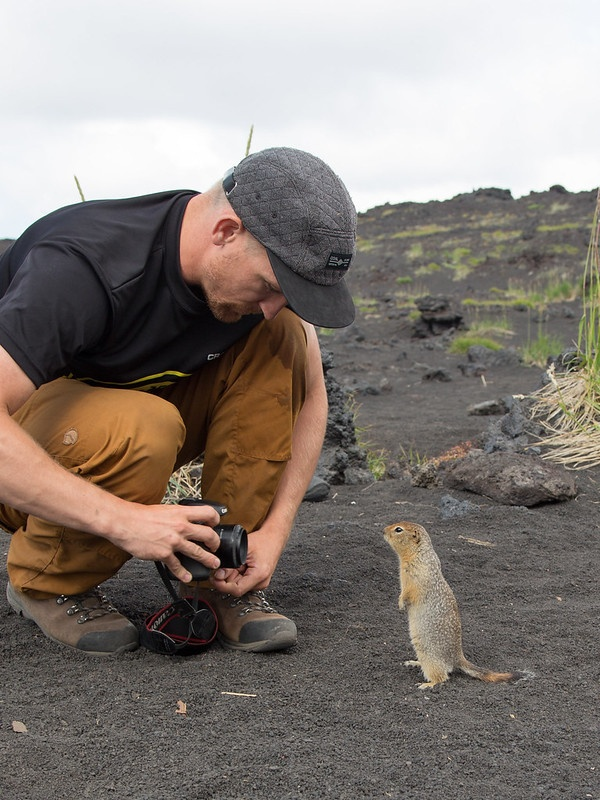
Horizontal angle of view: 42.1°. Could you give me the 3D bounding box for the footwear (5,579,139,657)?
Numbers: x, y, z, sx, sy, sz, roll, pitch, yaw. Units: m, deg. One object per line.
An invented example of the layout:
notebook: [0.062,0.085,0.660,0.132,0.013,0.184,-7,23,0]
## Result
footwear: [-0.779,0.734,2.659,0.374,0.197,0.362,6,8,43]

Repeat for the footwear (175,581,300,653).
footwear: [-0.190,0.760,2.797,0.538,0.196,0.178,2,2,37]

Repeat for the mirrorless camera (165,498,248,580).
mirrorless camera: [-0.284,0.466,2.579,0.221,0.295,0.265,0,11,-3]
